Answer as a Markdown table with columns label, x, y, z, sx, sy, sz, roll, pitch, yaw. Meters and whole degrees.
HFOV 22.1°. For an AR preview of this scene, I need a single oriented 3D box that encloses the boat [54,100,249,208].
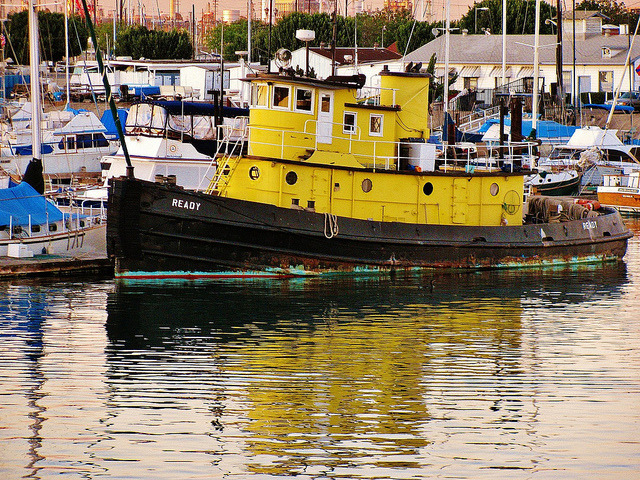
| label | x | y | z | sx | sy | sz | roll | pitch | yaw |
| --- | --- | --- | --- | --- | --- | --- | --- | --- | --- |
| boat | -5.947 | -3.692 | 71.900 | 8.182 | 4.940 | 9.225 | -8 | 7 | -13 |

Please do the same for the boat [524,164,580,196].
| label | x | y | z | sx | sy | sz | roll | pitch | yaw |
| --- | --- | --- | --- | --- | --- | --- | --- | --- | --- |
| boat | 11.521 | -3.100 | 77.485 | 1.879 | 0.509 | 0.628 | -9 | 11 | -23 |

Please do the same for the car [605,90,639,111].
| label | x | y | z | sx | sy | sz | roll | pitch | yaw |
| --- | --- | --- | --- | --- | --- | --- | --- | --- | --- |
| car | 18.834 | -8.455 | 99.717 | 1.500 | 0.988 | 6.330 | 3 | 11 | 18 |

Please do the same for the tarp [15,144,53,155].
| label | x | y | z | sx | sy | sz | roll | pitch | yaw |
| --- | --- | --- | --- | --- | --- | --- | --- | --- | --- |
| tarp | -13.668 | -4.396 | 79.840 | 2.038 | 0.416 | 1.285 | -1 | 2 | 21 |

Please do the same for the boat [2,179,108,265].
| label | x | y | z | sx | sy | sz | roll | pitch | yaw |
| --- | --- | --- | --- | --- | --- | --- | --- | --- | --- |
| boat | -8.989 | -0.335 | 63.269 | 5.924 | 2.253 | 2.102 | 4 | -7 | -33 |

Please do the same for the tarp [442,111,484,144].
| label | x | y | z | sx | sy | sz | roll | pitch | yaw |
| --- | --- | --- | --- | --- | --- | --- | --- | --- | --- |
| tarp | 7.084 | -5.419 | 79.502 | 0.421 | 1.560 | 4.232 | 2 | 2 | 35 |

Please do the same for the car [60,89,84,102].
| label | x | y | z | sx | sy | sz | roll | pitch | yaw |
| --- | --- | --- | --- | --- | --- | --- | --- | --- | --- |
| car | -15.663 | -9.166 | 104.445 | 1.513 | 0.592 | 4.511 | -3 | 11 | -9 |

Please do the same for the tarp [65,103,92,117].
| label | x | y | z | sx | sy | sz | roll | pitch | yaw |
| --- | --- | --- | --- | --- | --- | --- | --- | --- | --- |
| tarp | -12.664 | -6.844 | 86.551 | 1.490 | 0.534 | 1.060 | -2 | -1 | 39 |
